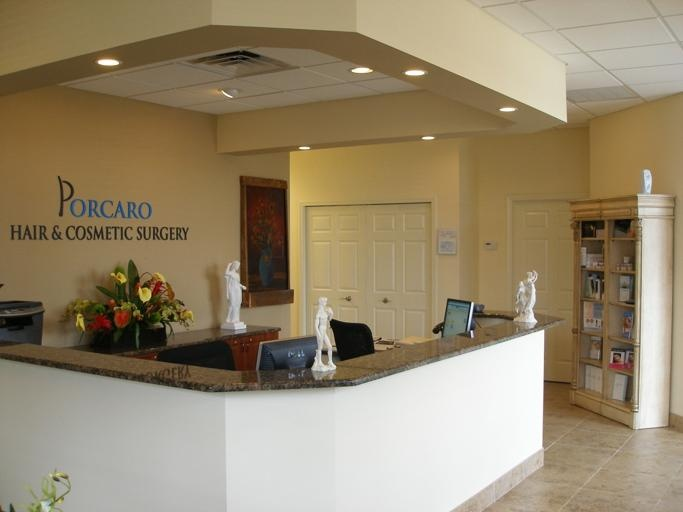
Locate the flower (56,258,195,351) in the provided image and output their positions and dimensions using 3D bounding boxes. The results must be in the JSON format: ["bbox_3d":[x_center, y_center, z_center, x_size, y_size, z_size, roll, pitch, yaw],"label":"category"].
[{"bbox_3d":[-1.971,0.441,4.742,0.819,0.607,0.837,-1,-1,41],"label":"flower"}]

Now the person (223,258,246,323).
[{"bbox_3d":[-1.208,0.427,5.658,0.220,0.762,0.490,-2,0,-13],"label":"person"}]

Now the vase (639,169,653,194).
[{"bbox_3d":[3.406,-0.851,5.568,0.112,0.254,0.404,-2,0,31],"label":"vase"}]

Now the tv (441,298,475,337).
[{"bbox_3d":[1.132,0.600,4.844,0.139,0.410,0.409,16,-7,-18],"label":"tv"}]

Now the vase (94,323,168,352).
[{"bbox_3d":[-1.987,0.766,4.656,0.674,0.255,0.449,-2,0,-23],"label":"vase"}]
